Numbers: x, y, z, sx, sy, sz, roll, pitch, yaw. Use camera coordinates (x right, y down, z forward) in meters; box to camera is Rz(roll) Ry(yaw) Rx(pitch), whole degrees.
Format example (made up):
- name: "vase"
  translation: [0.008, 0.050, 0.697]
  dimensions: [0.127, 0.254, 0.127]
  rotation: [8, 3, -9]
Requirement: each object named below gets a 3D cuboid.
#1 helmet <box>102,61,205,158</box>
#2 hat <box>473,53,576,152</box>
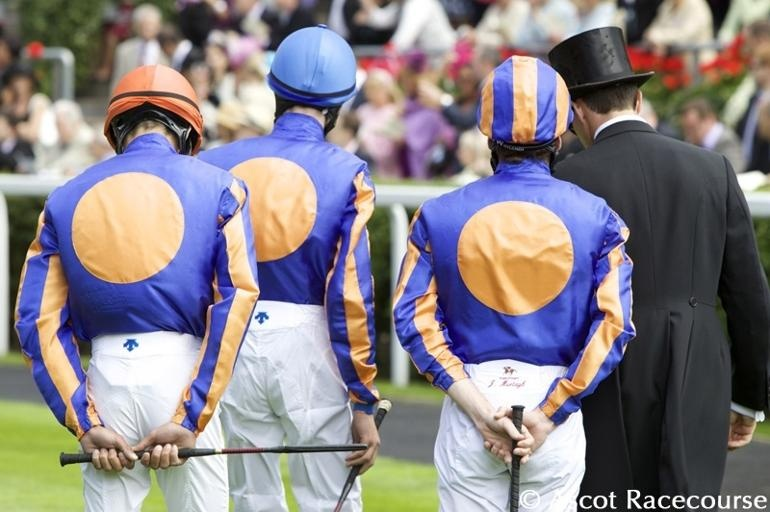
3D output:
- name: "helmet"
  translation: [-1.243, -0.827, 9.562]
  dimensions: [0.443, 0.534, 0.515]
  rotation: [-1, 44, 1]
- name: "hat"
  translation: [0.776, -0.846, 9.482]
  dimensions: [0.371, 0.304, 0.541]
  rotation: [3, 20, 11]
